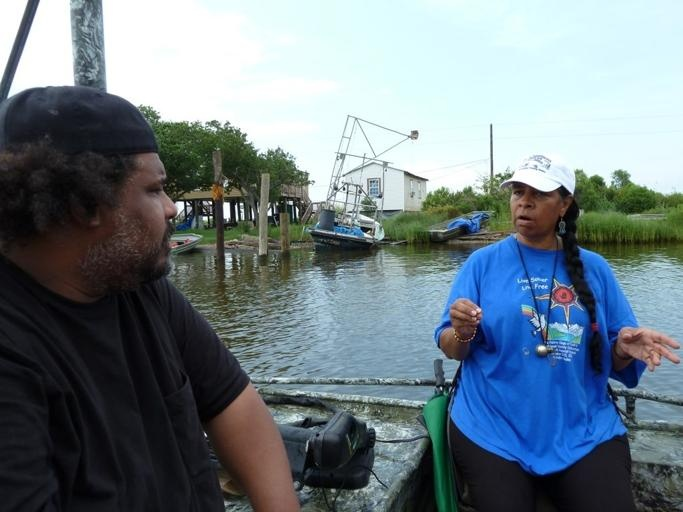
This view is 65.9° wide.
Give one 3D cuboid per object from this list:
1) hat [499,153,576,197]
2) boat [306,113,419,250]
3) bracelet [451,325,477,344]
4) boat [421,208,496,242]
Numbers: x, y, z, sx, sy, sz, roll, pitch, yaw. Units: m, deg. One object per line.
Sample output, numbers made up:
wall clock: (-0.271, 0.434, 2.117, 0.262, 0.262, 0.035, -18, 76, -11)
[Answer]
hat: (1.109, -0.459, 2.926, 0.421, 0.228, 0.314, 6, 7, -35)
boat: (0.872, -3.372, 32.271, 2.932, 8.226, 9.134, 12, 18, 29)
bracelet: (0.635, 0.403, 2.723, 0.098, 0.053, 0.126, -7, 5, 6)
boat: (8.307, -1.732, 34.193, 1.888, 0.970, 5.630, 10, 31, 42)
